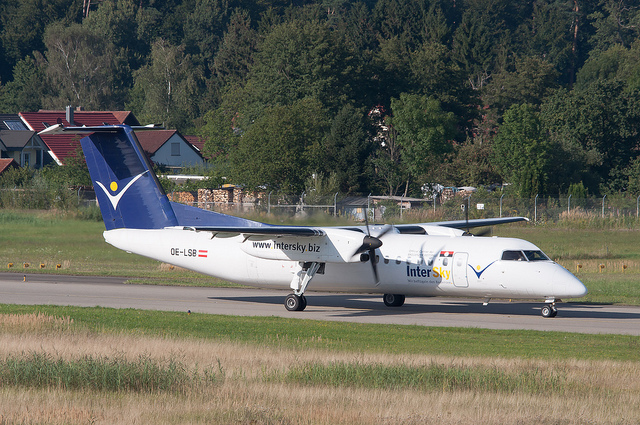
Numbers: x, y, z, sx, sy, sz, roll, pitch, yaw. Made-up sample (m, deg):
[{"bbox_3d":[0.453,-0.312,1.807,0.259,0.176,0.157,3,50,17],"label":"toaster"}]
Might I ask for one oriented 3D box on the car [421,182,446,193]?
[{"bbox_3d":[14.988,-3.509,206.676,1.658,1.001,1.693,0,-2,43],"label":"car"}]
